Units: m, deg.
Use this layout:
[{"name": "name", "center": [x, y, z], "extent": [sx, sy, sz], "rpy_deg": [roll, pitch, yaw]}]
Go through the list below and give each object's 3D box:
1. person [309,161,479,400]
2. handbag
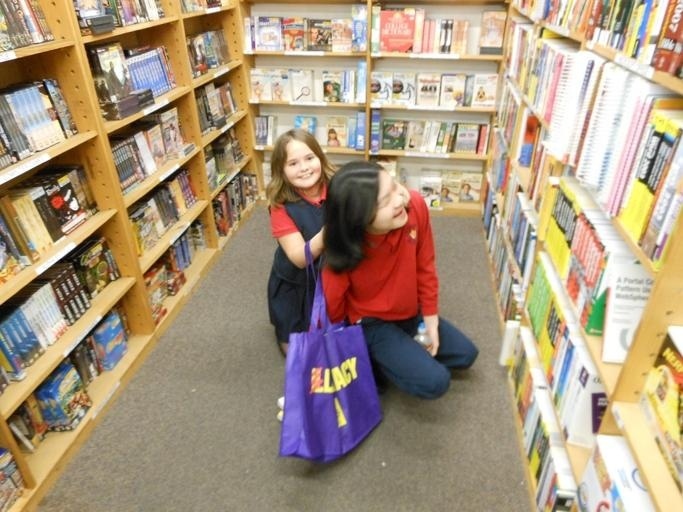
[{"name": "person", "center": [0.286, 0.104, 2.368], "extent": [0.723, 1.235, 0.651], "rpy_deg": [20, 54, 27]}, {"name": "handbag", "center": [-0.075, 0.579, 2.258], "extent": [0.302, 0.927, 0.605], "rpy_deg": [18, 33, 32]}]
